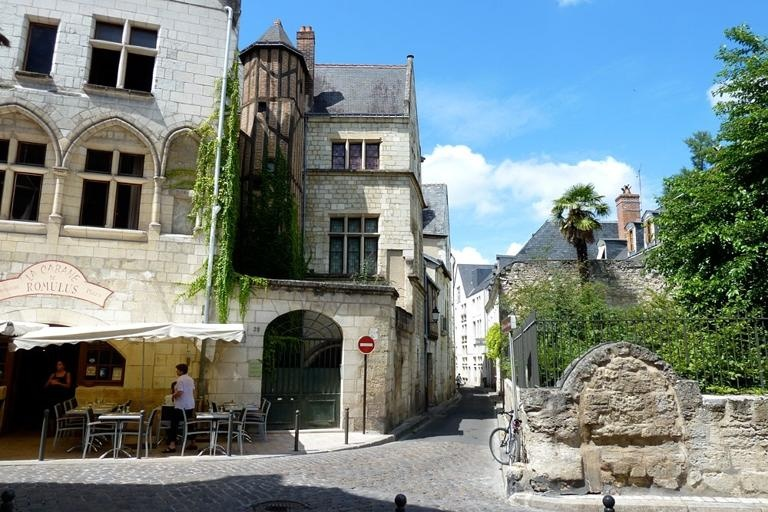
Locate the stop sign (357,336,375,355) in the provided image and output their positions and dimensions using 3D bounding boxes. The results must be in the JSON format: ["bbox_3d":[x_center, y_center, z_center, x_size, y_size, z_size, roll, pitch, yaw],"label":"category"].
[{"bbox_3d":[-0.633,2.958,21.165,0.590,0.678,0.130,-2,-19,7],"label":"stop sign"}]

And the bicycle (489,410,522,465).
[{"bbox_3d":[3.213,4.899,16.849,0.876,1.096,1.801,4,-14,3],"label":"bicycle"}]

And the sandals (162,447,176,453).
[{"bbox_3d":[-5.899,5.311,17.596,0.441,0.180,0.153,5,-10,4],"label":"sandals"}]

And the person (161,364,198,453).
[{"bbox_3d":[-5.688,4.223,17.882,0.736,2.383,1.434,3,-9,-18],"label":"person"}]
